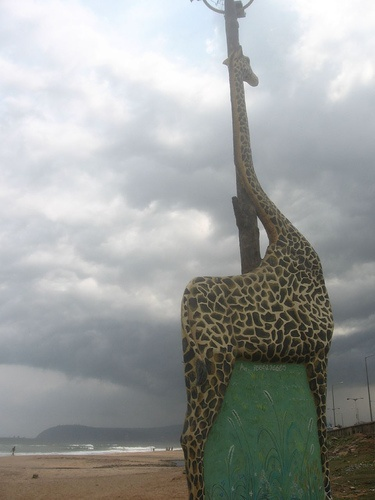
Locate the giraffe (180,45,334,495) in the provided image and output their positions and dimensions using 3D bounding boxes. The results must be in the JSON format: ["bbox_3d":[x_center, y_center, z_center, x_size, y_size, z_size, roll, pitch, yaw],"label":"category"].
[{"bbox_3d":[1.181,0.884,8.584,1.592,6.585,2.474,-15,-19,40],"label":"giraffe"}]
